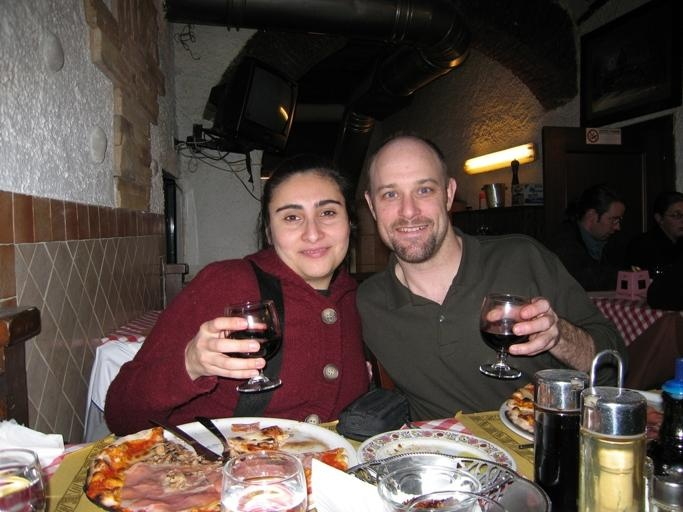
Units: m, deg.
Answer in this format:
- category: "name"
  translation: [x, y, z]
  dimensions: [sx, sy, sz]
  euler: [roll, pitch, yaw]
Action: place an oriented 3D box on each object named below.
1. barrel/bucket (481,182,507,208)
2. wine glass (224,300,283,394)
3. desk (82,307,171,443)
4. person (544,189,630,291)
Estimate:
- category: "barrel/bucket"
  translation: [1.736, -0.672, 5.801]
  dimensions: [0.286, 0.303, 0.295]
  euler: [0, -10, 0]
- category: "wine glass"
  translation: [-0.314, 0.337, 1.772]
  dimensions: [0.186, 0.359, 0.404]
  euler: [0, 0, -1]
- category: "desk"
  translation: [-1.349, 0.613, 2.865]
  dimensions: [0.623, 0.357, 0.732]
  euler: [-7, 13, -31]
- category: "person"
  translation: [2.068, -0.175, 4.258]
  dimensions: [0.498, 0.904, 0.527]
  euler: [9, 43, 39]
